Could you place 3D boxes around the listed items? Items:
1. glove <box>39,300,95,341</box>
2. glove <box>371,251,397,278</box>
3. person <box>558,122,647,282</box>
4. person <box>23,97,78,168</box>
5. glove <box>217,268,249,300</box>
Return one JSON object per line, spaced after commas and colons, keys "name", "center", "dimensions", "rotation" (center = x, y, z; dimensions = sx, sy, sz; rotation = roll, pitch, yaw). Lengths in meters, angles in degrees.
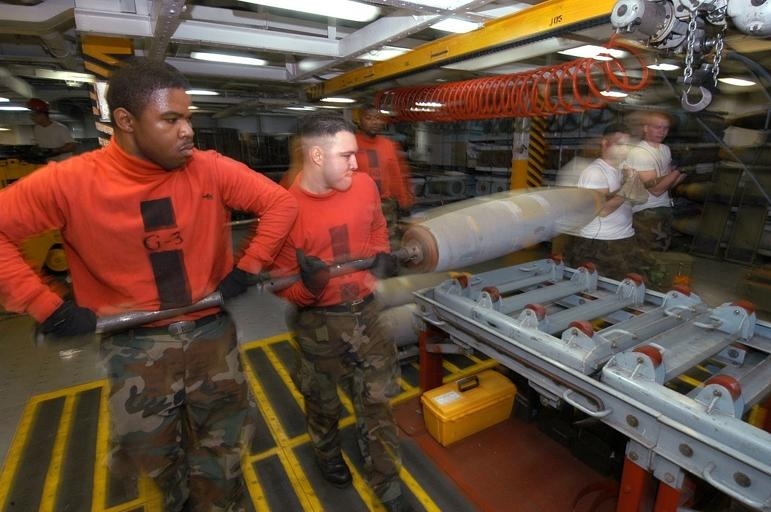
{"name": "glove", "center": [-1.524, 0.306, 2.030], "dimensions": [0.217, 0.091, 0.178], "rotation": [-3, 2, -40]}
{"name": "glove", "center": [-0.050, 0.062, 2.782], "dimensions": [0.141, 0.181, 0.078], "rotation": [-27, 54, 3]}
{"name": "person", "center": [1.832, -0.411, 3.662], "dimensions": [0.619, 1.425, 1.000], "rotation": [8, 21, 31]}
{"name": "person", "center": [-5.275, -1.980, 6.532], "dimensions": [0.773, 0.911, 0.535], "rotation": [4, 31, 5]}
{"name": "glove", "center": [-0.864, 0.166, 2.337], "dimensions": [0.174, 0.062, 0.177], "rotation": [-36, -2, -38]}
